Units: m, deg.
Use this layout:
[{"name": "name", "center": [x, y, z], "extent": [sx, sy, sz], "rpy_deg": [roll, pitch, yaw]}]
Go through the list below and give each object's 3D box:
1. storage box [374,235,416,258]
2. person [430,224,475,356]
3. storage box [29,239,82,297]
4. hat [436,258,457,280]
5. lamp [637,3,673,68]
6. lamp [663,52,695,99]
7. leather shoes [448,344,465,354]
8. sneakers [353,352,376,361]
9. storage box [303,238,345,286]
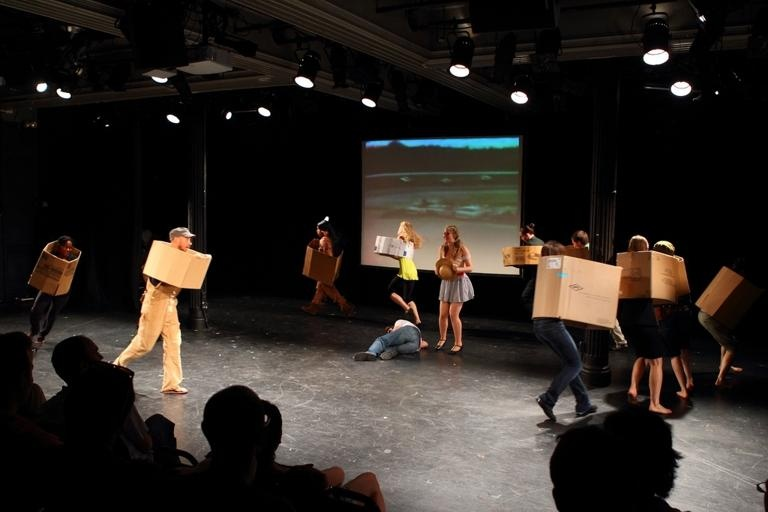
[{"name": "storage box", "center": [0.238, -0.158, 10.035], "extent": [0.426, 0.272, 0.575], "rpy_deg": [4, -1, 32]}, {"name": "person", "center": [1.055, 0.518, 8.387], "extent": [0.547, 1.910, 0.485], "rpy_deg": [4, 7, 23]}, {"name": "storage box", "center": [-4.986, 0.201, 8.362], "extent": [0.674, 0.809, 0.287], "rpy_deg": [1, 7, 4]}, {"name": "hat", "center": [0.916, 0.184, 8.202], "extent": [0.294, 0.306, 0.110], "rpy_deg": [3, 7, 23]}, {"name": "lamp", "center": [2.986, -2.403, 6.062], "extent": [0.250, 0.659, 0.626], "rpy_deg": [4, 7, 25]}, {"name": "lamp", "center": [3.909, -2.353, 7.238], "extent": [0.431, 0.535, 0.414], "rpy_deg": [-4, 2, -12]}, {"name": "leather shoes", "center": [1.134, 1.439, 8.563], "extent": [0.095, 0.104, 0.277], "rpy_deg": [-7, -12, 28]}, {"name": "sneakers", "center": [-0.257, 1.434, 8.049], "extent": [0.345, 0.112, 0.235], "rpy_deg": [4, -3, -3]}, {"name": "storage box", "center": [-1.222, 0.106, 11.118], "extent": [0.774, 0.452, 0.750], "rpy_deg": [19, 3, -4]}]
